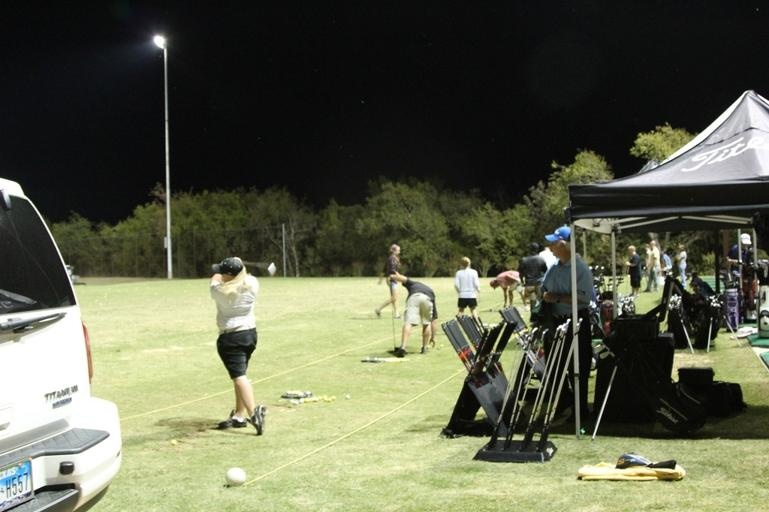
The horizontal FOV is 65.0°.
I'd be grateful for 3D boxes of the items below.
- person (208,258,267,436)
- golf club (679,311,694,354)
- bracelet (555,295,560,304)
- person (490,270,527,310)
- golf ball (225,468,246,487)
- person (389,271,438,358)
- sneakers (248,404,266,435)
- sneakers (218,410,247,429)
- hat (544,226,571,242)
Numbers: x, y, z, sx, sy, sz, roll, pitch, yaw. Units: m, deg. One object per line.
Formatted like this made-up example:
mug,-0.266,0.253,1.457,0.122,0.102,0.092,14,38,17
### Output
person,-1.979,1.197,8.246,0.682,2.441,0.629,-2,0,-4
golf club,6.755,1.712,13.476,0.202,0.792,0.196,-16,-11,9
bracelet,2.396,0.597,8.307,0.068,0.089,0.030,2,6,5
person,4.065,0.992,18.472,1.776,1.015,0.526,-3,-1,35
golf ball,-1.554,2.336,6.331,0.168,0.126,0.165,17,-15,5
person,0.758,1.230,13.718,1.150,1.664,0.508,15,-26,-8
sneakers,-1.693,2.161,8.046,0.198,0.422,0.158,-2,21,8
sneakers,-2.092,2.297,8.374,0.391,0.173,0.177,2,-8,2
hat,2.566,-0.317,8.640,0.450,0.240,0.282,4,0,0
